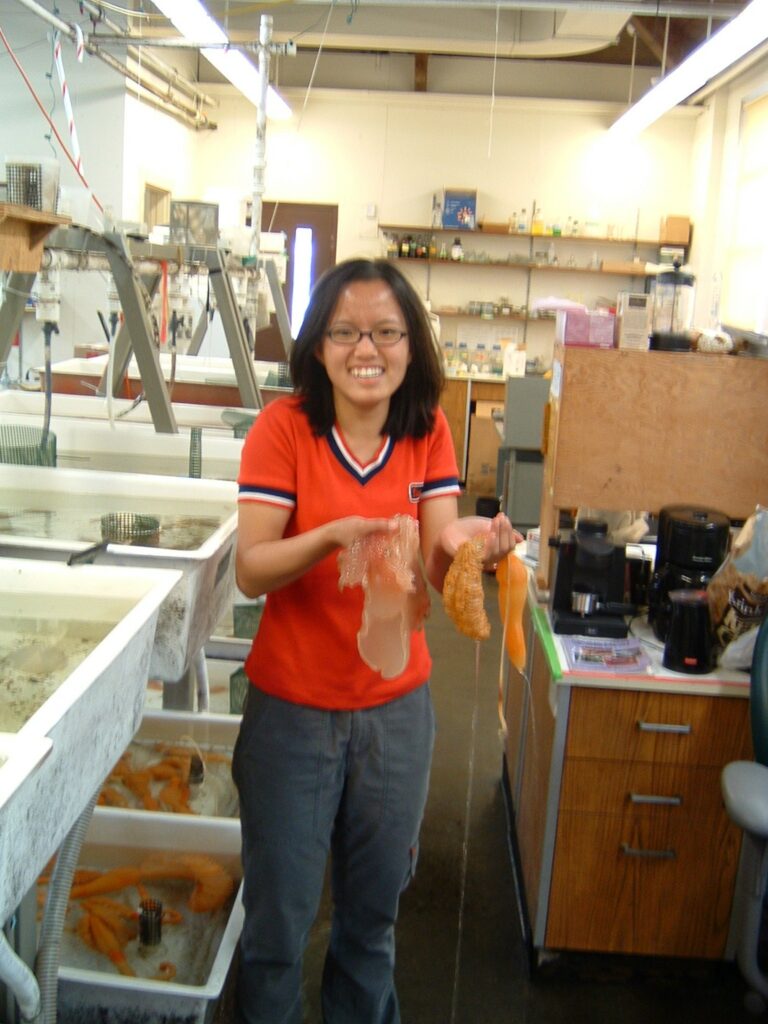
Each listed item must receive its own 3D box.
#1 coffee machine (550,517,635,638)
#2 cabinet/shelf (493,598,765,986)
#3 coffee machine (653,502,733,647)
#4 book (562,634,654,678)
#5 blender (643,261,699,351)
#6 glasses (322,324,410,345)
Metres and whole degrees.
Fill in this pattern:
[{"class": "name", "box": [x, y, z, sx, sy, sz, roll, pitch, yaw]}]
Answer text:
[{"class": "coffee machine", "box": [0.430, 0.162, 1.711, 0.149, 0.287, 0.198, 0, -3, 2]}, {"class": "cabinet/shelf", "box": [0.609, 0.437, 1.926, 0.422, 0.897, 0.868, 1, 31, 13]}, {"class": "coffee machine", "box": [0.661, 0.125, 1.689, 0.141, 0.346, 0.274, 1, 3, 2]}, {"class": "book", "box": [0.456, 0.298, 1.605, 0.184, 0.019, 0.178, 1, 10, 1]}, {"class": "blender", "box": [0.640, -0.425, 1.679, 0.077, 0.180, 0.083, 3, -6, 38]}, {"class": "glasses", "box": [-0.023, -0.223, 0.987, 0.100, 0.026, 0.039, 0, 10, -7]}]
